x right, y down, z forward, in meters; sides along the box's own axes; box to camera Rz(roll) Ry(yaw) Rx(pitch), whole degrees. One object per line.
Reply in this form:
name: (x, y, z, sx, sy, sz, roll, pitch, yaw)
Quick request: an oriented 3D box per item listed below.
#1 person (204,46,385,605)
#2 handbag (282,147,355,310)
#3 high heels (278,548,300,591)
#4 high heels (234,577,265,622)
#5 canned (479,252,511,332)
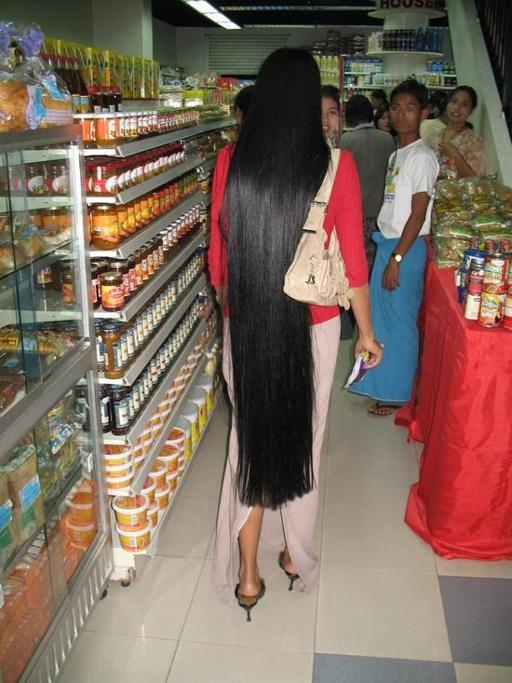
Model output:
person: (0.095, 0.107, 1.569, 0.461, 1.772, 0.508, -6, 13, -23)
handbag: (0.179, -0.291, 1.324, 0.107, 0.429, 0.260, 10, 16, 40)
high heels: (0.124, 0.887, 1.925, 0.057, 0.144, 0.042, -5, 7, -35)
high heels: (-0.017, 0.926, 1.779, 0.060, 0.051, 0.120, -1, 32, -1)
canned: (0.887, -0.192, 1.841, 0.089, 0.263, 0.150, 6, 14, 25)
